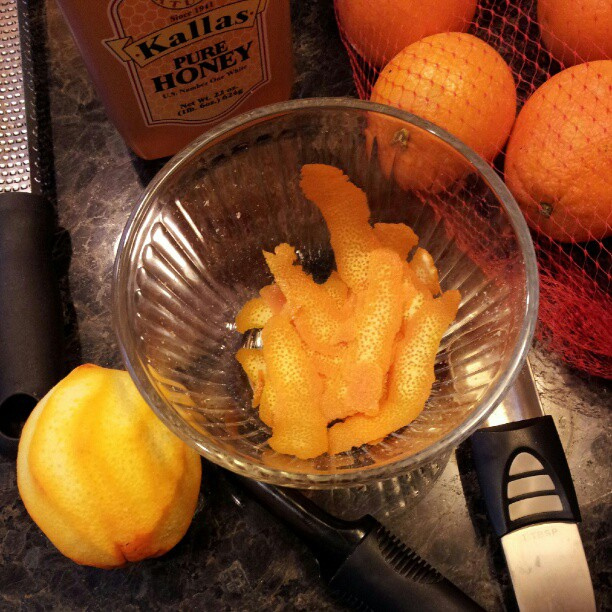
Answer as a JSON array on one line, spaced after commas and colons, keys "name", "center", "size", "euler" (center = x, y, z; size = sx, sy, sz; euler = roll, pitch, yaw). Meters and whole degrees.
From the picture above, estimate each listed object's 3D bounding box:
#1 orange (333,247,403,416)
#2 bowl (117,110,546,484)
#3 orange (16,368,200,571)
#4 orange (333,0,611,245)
[{"name": "orange", "center": [0.057, 0.009, 0.564], "size": [0.043, 0.187, 0.045], "euler": [11, 34, 1]}, {"name": "bowl", "center": [0.020, -0.005, 0.597], "size": [0.284, 0.139, 0.411], "euler": [1, 79, -2]}, {"name": "orange", "center": [-0.171, 0.128, 0.590], "size": [0.150, 0.093, 0.186], "euler": [-23, 94, -13]}, {"name": "orange", "center": [0.171, -0.137, 0.634], "size": [0.221, 0.116, 0.280], "euler": [12, 89, 9]}]
